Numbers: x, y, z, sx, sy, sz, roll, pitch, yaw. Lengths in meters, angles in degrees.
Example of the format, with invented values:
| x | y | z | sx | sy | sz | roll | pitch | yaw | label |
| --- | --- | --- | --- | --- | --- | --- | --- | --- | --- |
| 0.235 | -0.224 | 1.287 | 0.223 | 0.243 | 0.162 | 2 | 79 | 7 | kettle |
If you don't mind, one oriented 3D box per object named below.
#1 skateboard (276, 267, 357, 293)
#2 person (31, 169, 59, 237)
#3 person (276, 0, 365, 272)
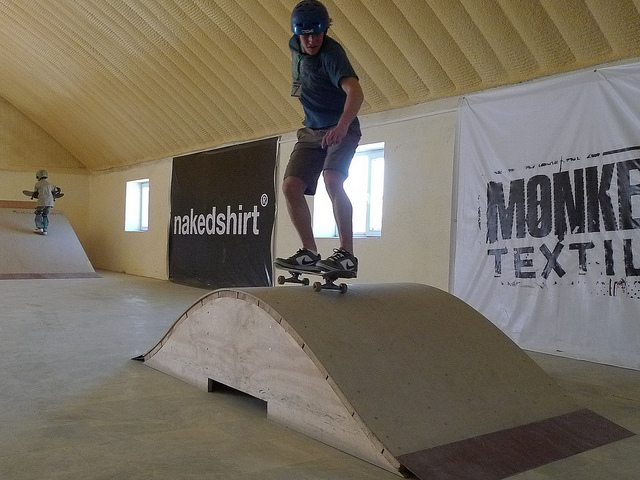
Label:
| x | y | z | sx | sy | sz | roll | pitch | yaw | label |
| --- | --- | --- | --- | --- | --- | --- | --- | --- | --- |
| -0.003 | 0.263 | 3.288 | 0.480 | 0.102 | 0.352 | 3 | -2 | 8 | skateboard |
| -5.952 | -0.793 | 10.670 | 0.497 | 1.464 | 0.788 | 4 | -2 | -31 | person |
| 0.017 | -0.695 | 3.343 | 0.534 | 1.187 | 0.527 | 3 | -2 | 5 | person |
